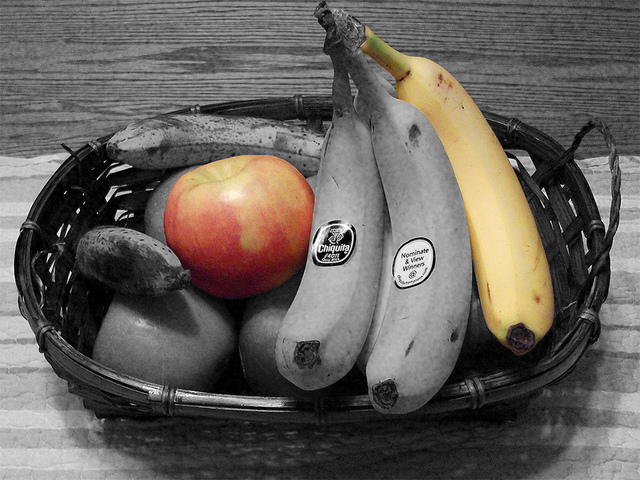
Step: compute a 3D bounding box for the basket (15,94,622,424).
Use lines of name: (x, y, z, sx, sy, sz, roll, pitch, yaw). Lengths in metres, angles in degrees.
basket: (0.007, 0.110, 0.870, 0.661, 0.253, 0.467, -3, 45, 1)

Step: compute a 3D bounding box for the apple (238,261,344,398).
apple: (-0.049, 0.108, 0.847, 0.114, 0.090, 0.167, -1, 84, 2)

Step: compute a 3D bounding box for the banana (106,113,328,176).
banana: (-0.135, -0.123, 0.894, 0.244, 0.064, 0.083, 0, 33, -14)

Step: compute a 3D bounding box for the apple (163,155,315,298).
apple: (-0.100, -0.024, 0.870, 0.179, 0.156, 0.201, 5, 33, 24)

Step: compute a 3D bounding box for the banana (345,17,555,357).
banana: (0.168, -0.044, 0.889, 0.191, 0.131, 0.465, -9, 76, 2)

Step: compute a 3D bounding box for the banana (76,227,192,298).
banana: (-0.219, 0.017, 0.821, 0.137, 0.054, 0.069, 17, 99, 19)

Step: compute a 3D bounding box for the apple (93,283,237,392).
apple: (-0.185, 0.099, 0.835, 0.123, 0.139, 0.133, 5, 89, 5)
